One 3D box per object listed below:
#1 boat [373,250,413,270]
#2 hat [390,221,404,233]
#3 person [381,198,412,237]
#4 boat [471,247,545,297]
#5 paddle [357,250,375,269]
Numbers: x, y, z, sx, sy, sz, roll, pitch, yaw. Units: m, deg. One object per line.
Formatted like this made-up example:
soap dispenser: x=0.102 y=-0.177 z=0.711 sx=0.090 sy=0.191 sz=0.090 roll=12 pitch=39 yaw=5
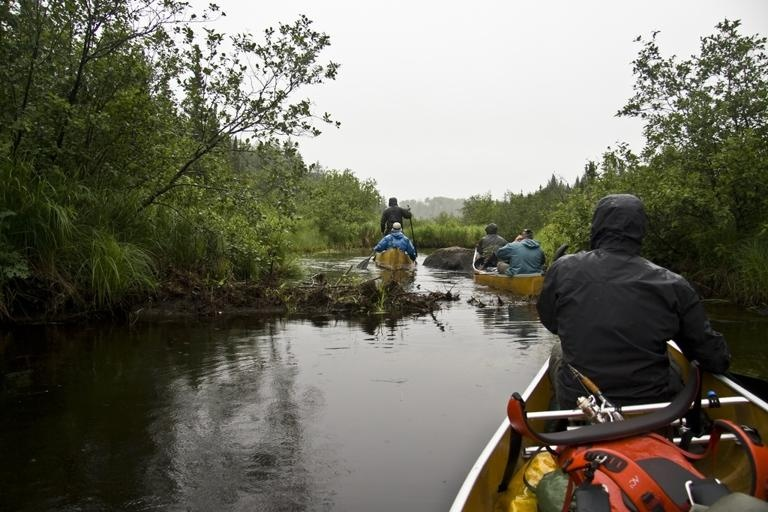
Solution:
boat: x=0.425 y=0.120 z=21.358 sx=1.595 sy=0.738 sz=1.512 roll=0 pitch=6 yaw=-8
hat: x=0.508 y=-1.166 z=22.509 sx=0.351 sy=0.440 sz=0.416 roll=3 pitch=8 yaw=7
person: x=0.528 y=-1.219 z=24.302 sx=1.170 sy=2.612 sz=0.828 roll=1 pitch=0 yaw=-1
boat: x=3.562 y=0.493 z=15.679 sx=1.236 sy=1.226 sz=6.555 roll=2 pitch=-1 yaw=-8
paddle: x=-0.581 y=0.221 z=19.855 sx=0.325 sy=0.104 sz=1.269 roll=16 pitch=23 yaw=13
